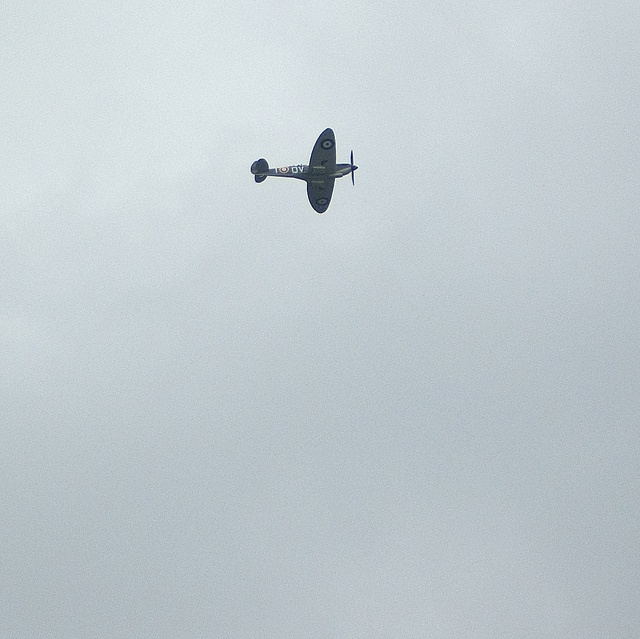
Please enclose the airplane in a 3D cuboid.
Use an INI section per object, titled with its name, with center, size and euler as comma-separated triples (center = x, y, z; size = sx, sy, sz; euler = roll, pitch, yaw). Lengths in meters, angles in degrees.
[airplane]
center = -0.847, -9.704, 99.090
size = 6.272, 8.773, 2.649
euler = -4, -95, -16
